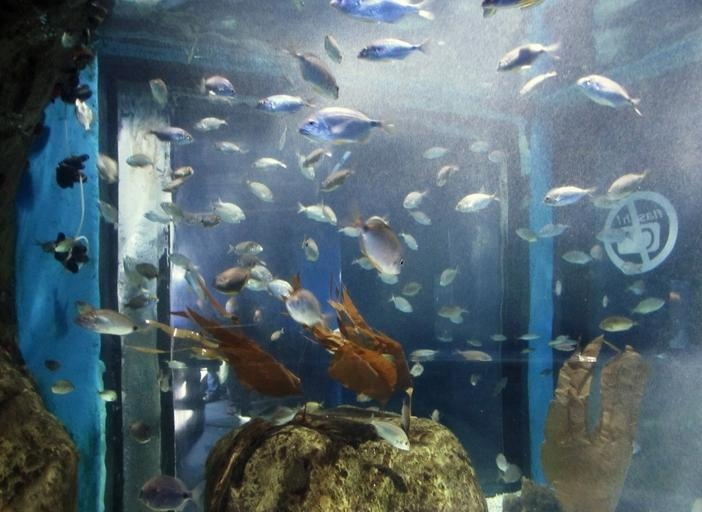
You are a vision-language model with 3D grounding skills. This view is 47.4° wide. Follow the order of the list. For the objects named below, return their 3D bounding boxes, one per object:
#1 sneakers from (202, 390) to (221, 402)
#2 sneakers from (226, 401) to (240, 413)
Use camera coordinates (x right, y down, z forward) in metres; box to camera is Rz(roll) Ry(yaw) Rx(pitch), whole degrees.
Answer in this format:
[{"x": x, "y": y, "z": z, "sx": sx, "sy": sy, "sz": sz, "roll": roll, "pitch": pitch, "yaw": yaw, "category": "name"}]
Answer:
[{"x": -2.665, "y": 2.700, "z": 15.284, "sx": 0.127, "sy": 0.182, "sz": 0.397, "roll": -9, "pitch": -22, "yaw": 33, "category": "sneakers"}, {"x": -2.295, "y": 2.950, "z": 15.379, "sx": 0.196, "sy": 0.225, "sz": 0.207, "roll": -2, "pitch": 6, "yaw": -2, "category": "sneakers"}]
